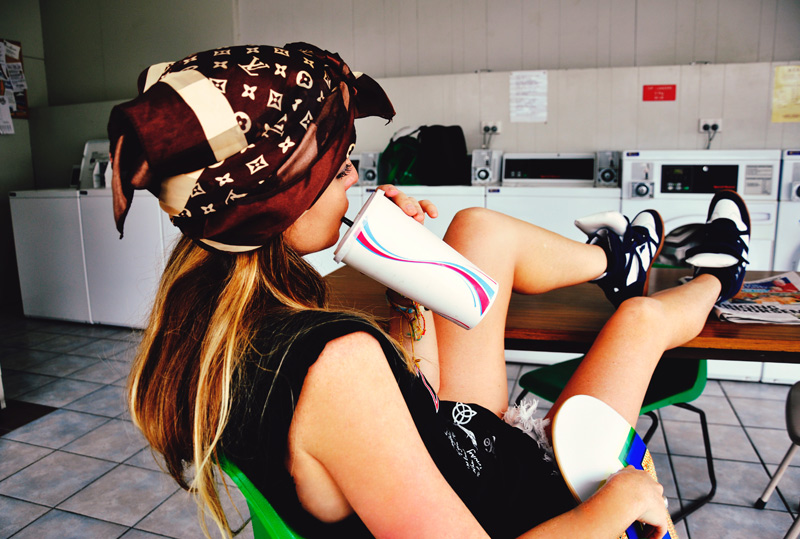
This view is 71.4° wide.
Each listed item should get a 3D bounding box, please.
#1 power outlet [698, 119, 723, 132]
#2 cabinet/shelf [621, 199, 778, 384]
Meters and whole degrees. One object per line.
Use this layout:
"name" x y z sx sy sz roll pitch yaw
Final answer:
"power outlet" 2.168 -1.008 3.904 0.154 0.101 0.081 2 6 14
"cabinet/shelf" 2.002 -0.128 3.766 0.638 0.782 1.994 1 25 18
